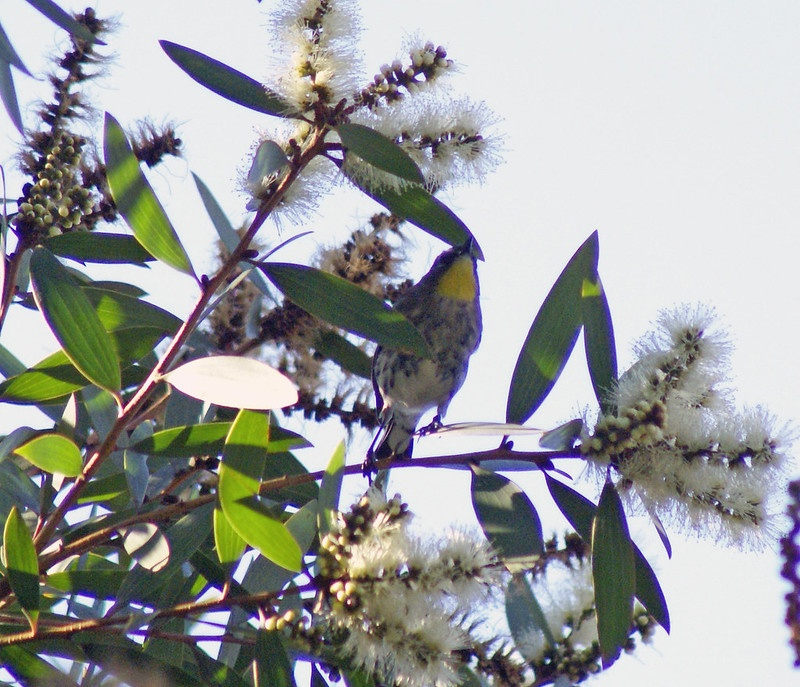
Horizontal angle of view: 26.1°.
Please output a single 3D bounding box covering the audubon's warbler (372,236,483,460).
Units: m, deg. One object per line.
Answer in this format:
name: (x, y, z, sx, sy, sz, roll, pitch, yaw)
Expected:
audubon's warbler: (0.051, 0.047, 4.007, 0.161, 0.382, 0.509, 10, -24, -12)
